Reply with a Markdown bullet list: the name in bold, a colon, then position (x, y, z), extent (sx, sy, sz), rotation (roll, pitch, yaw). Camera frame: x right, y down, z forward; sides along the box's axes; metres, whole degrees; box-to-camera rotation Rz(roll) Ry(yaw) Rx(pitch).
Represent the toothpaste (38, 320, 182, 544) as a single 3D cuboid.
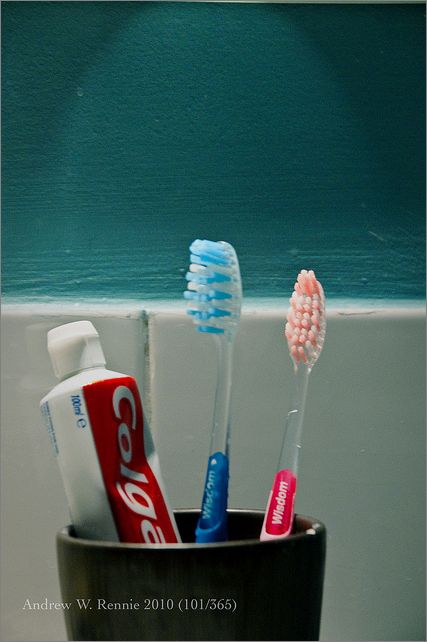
- **toothpaste**: position (-0.074, 0.081, 0.460), extent (0.051, 0.155, 0.056), rotation (-14, -1, 11)
